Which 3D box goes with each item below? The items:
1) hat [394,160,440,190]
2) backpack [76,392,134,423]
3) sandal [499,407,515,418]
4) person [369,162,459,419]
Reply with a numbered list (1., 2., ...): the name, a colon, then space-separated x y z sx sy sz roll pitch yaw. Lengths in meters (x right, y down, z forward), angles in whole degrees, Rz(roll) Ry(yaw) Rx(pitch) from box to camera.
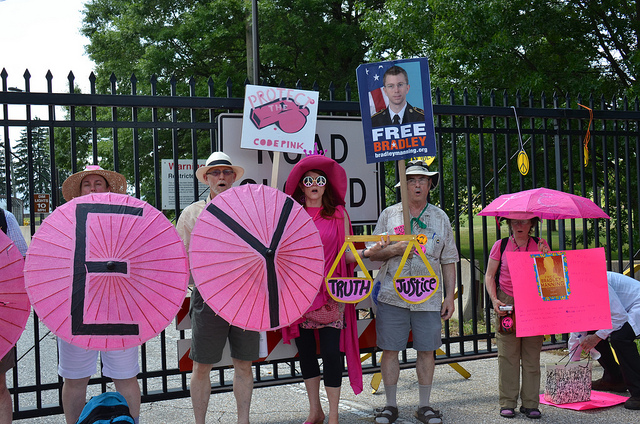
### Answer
1. hat: 1.421 -0.518 11.344 0.369 0.417 0.646 -3 -1 22
2. backpack: -2.617 2.398 9.932 0.375 0.494 0.469 23 -10 -27
3. sandal: 2.567 2.724 11.154 0.212 0.102 0.116 -3 -1 11
4. person: 1.216 1.056 11.089 1.236 3.491 0.978 -1 -2 -33
